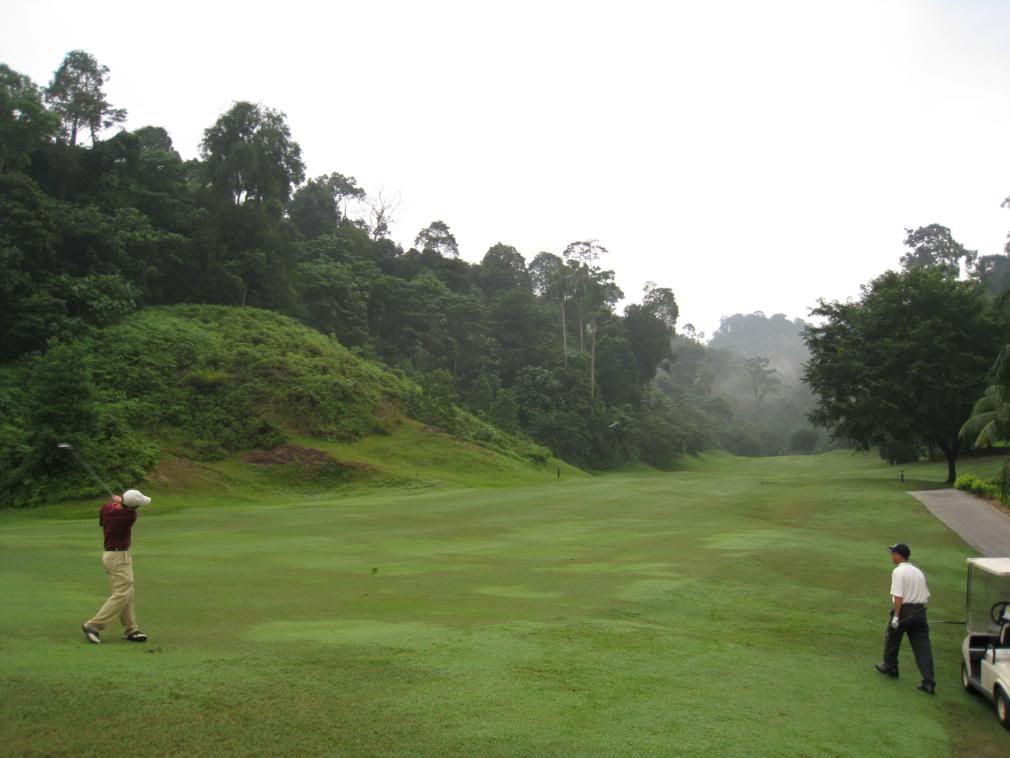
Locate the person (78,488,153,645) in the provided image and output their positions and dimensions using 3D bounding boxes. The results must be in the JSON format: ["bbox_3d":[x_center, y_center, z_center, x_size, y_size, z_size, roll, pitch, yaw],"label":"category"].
[{"bbox_3d":[-6.904,3.290,14.612,1.033,2.574,1.052,4,-5,-28],"label":"person"}]

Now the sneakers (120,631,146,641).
[{"bbox_3d":[-6.518,4.524,14.396,0.351,0.156,0.154,1,-5,6],"label":"sneakers"}]

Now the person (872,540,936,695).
[{"bbox_3d":[7.707,4.531,15.720,0.975,2.663,1.010,0,-5,27],"label":"person"}]

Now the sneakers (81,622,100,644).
[{"bbox_3d":[-7.171,4.426,14.157,0.228,0.503,0.203,-19,-29,-17],"label":"sneakers"}]
